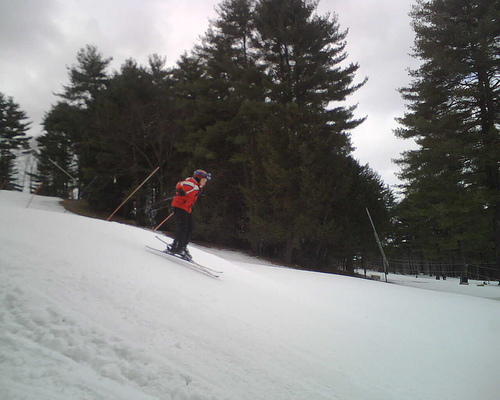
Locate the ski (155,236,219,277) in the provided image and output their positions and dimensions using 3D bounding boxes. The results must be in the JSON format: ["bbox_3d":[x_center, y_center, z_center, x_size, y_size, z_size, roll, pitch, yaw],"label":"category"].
[{"bbox_3d":[-1.587,1.432,9.484,1.935,0.204,0.215,44,-42,20],"label":"ski"}]
